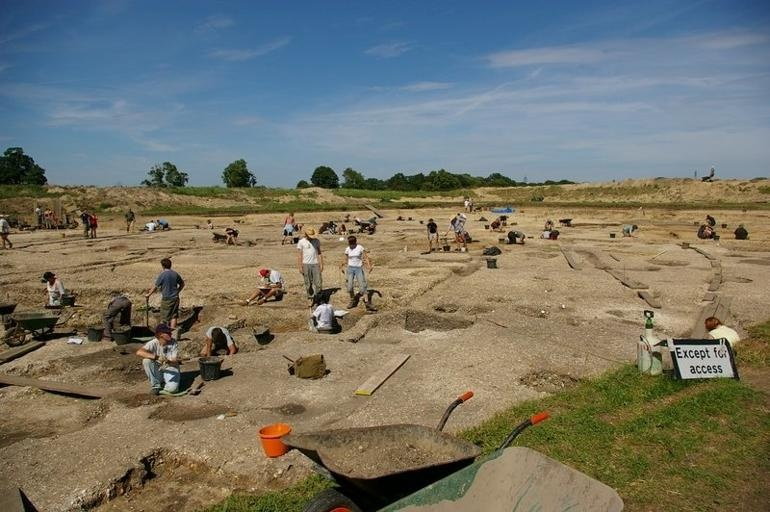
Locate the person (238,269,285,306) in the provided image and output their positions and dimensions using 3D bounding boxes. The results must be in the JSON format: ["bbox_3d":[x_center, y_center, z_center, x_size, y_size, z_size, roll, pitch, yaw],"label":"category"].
[{"bbox_3d":[-4.143,1.032,15.021,1.526,0.975,0.986,-22,17,-40],"label":"person"}]

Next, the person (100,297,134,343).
[{"bbox_3d":[-7.775,1.767,12.733,0.772,1.181,1.907,-9,7,-33],"label":"person"}]

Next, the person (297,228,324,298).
[{"bbox_3d":[-2.312,0.266,13.706,0.679,2.285,0.925,-6,7,-10],"label":"person"}]

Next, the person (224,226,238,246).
[{"bbox_3d":[-9.894,-1.379,27.762,0.700,1.145,2.306,2,12,-9],"label":"person"}]

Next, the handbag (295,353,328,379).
[{"bbox_3d":[-1.674,2.513,9.895,0.639,0.204,0.509,-2,49,-7],"label":"handbag"}]

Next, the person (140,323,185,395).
[{"bbox_3d":[-4.729,2.164,9.259,0.710,1.374,0.784,-8,8,-26],"label":"person"}]

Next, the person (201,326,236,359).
[{"bbox_3d":[-4.393,2.200,11.493,0.748,0.699,0.982,0,15,-9],"label":"person"}]

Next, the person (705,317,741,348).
[{"bbox_3d":[6.912,1.628,9.065,0.508,0.639,1.017,1,7,38],"label":"person"}]

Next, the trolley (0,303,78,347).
[{"bbox_3d":[-9.796,2.039,13.074,1.157,0.827,2.208,-1,-3,30],"label":"trolley"}]

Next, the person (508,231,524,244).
[{"bbox_3d":[7.695,-1.072,25.656,1.067,0.648,0.700,-9,7,-42],"label":"person"}]

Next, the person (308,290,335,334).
[{"bbox_3d":[-1.807,1.647,12.662,0.818,1.184,0.912,-3,8,-34],"label":"person"}]

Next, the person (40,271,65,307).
[{"bbox_3d":[-10.584,1.076,14.112,0.511,1.158,0.802,-10,9,-36],"label":"person"}]

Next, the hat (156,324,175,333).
[{"bbox_3d":[-4.657,1.554,9.361,0.319,0.134,0.185,-5,6,-14],"label":"hat"}]
